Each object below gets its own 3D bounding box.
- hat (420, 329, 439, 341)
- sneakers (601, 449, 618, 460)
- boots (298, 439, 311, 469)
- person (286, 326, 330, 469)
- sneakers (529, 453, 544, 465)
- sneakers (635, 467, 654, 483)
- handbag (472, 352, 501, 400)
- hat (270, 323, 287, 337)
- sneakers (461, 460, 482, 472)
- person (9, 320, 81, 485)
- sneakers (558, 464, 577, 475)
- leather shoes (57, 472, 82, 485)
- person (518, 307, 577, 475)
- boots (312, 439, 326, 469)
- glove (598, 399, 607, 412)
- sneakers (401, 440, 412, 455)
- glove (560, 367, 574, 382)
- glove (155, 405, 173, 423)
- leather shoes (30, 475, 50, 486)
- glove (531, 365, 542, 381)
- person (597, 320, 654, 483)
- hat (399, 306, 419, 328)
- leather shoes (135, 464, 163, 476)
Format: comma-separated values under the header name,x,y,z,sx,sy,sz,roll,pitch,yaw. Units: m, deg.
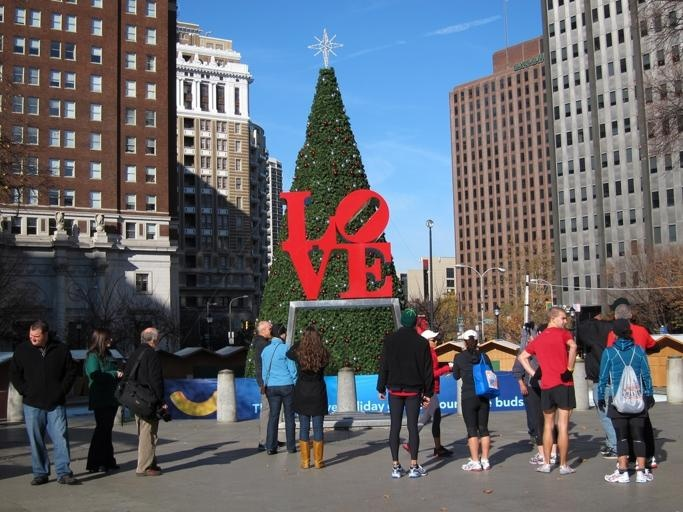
name,x,y,z,sx,sy,sz,roll,pitch,yaw
hat,2.023,1.834,21.349,0.244,0.126,0.351,-7,-2,-31
sneakers,5.991,4.408,20.314,0.336,0.160,0.131,1,-2,6
boots,-0.794,4.361,20.150,0.239,0.631,0.524,-1,-5,-3
person,-0.700,3.135,20.462,0.845,3.130,1.087,-1,-5,-4
sneakers,4.286,4.465,20.008,0.315,0.219,0.132,3,-5,9
sneakers,6.206,4.453,18.558,0.554,0.276,0.269,1,-5,-29
handbag,3.112,2.564,19.577,0.527,0.975,0.625,-5,-6,36
hat,-1.471,1.691,21.306,0.264,0.342,0.325,1,-8,23
sneakers,2.803,4.495,19.557,0.421,0.236,0.244,-3,-5,12
person,-6.294,3.092,19.345,1.306,3.468,0.537,-1,-5,-12
sneakers,4.794,4.507,19.259,0.386,0.177,0.144,0,0,-38
leather shoes,-5.722,4.694,19.214,0.444,0.213,0.204,-3,-5,18
person,4.524,2.836,19.374,1.100,3.531,0.646,-4,-5,27
boots,-0.501,4.358,20.102,0.209,0.622,0.351,-2,-5,-1
glove,5.546,3.185,19.428,0.192,0.297,0.149,7,-16,39
sneakers,1.523,4.450,21.224,0.165,0.210,0.501,37,-15,19
glove,4.724,2.510,19.045,0.292,0.319,0.163,2,-4,17
glove,-3.792,3.336,19.475,0.269,0.318,0.494,-1,-5,-14
leather shoes,-6.347,4.726,19.157,0.296,0.221,0.166,14,-12,-22
glove,4.296,2.594,19.965,0.098,0.334,0.328,14,5,14
person,5.889,2.963,18.853,1.042,3.406,0.923,-2,2,20
hat,1.425,1.308,19.345,0.283,0.404,0.404,3,4,17
leather shoes,-4.150,4.669,19.693,0.533,0.266,0.216,-4,-2,-4
